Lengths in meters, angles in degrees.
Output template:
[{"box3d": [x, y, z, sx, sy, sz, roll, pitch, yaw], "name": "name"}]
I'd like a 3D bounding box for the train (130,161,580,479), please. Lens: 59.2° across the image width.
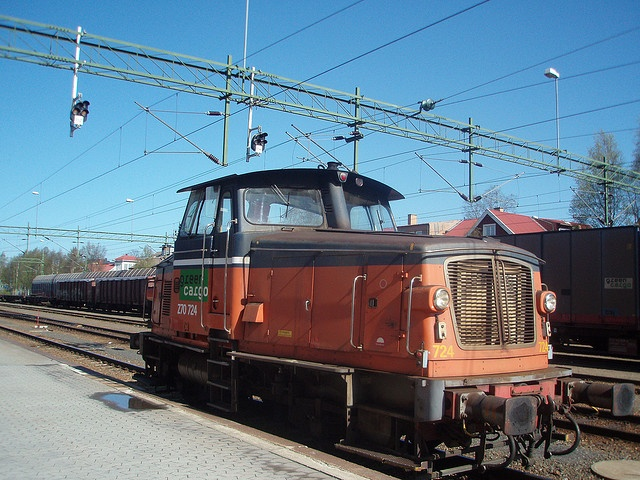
[{"box3d": [-0.329, 0.966, 10.511, 9.124, 3.980, 3.100, 1, -1, 43], "name": "train"}]
